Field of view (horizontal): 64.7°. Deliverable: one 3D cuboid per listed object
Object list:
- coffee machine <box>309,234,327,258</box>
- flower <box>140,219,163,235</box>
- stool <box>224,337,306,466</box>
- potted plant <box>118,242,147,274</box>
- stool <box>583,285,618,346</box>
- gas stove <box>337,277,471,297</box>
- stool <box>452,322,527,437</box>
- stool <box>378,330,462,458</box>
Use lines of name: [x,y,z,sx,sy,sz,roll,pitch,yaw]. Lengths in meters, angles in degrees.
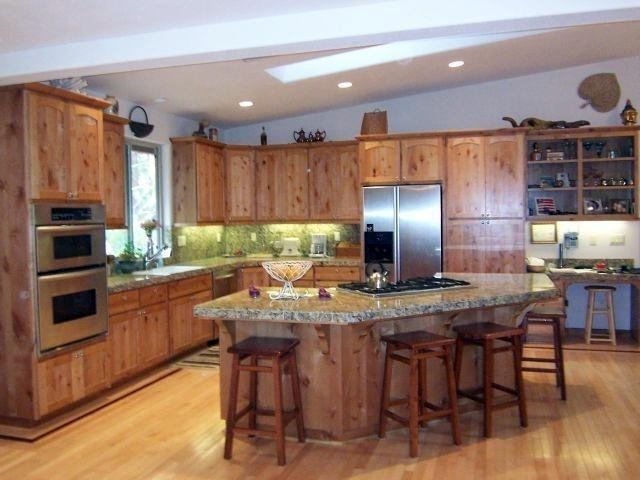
coffee machine: [-0.020,0.084,7.308,0.271,0.335,0.318,-2,-7,14]
flower: [-1.998,-0.172,5.989,0.233,0.199,0.216,1,-1,-9]
stool: [-0.433,1.187,3.841,0.621,0.845,0.536,-2,8,0]
potted plant: [-2.147,0.199,5.773,0.361,0.351,0.329,0,0,-8]
stool: [3.588,0.910,6.435,0.385,0.713,0.682,3,9,29]
gas stove: [0.715,0.363,4.237,1.032,0.070,0.513,-4,7,-19]
stool: [1.428,1.100,4.191,0.654,0.834,0.495,-6,9,-27]
stool: [0.786,1.140,3.921,0.664,0.837,0.538,-2,8,-6]
